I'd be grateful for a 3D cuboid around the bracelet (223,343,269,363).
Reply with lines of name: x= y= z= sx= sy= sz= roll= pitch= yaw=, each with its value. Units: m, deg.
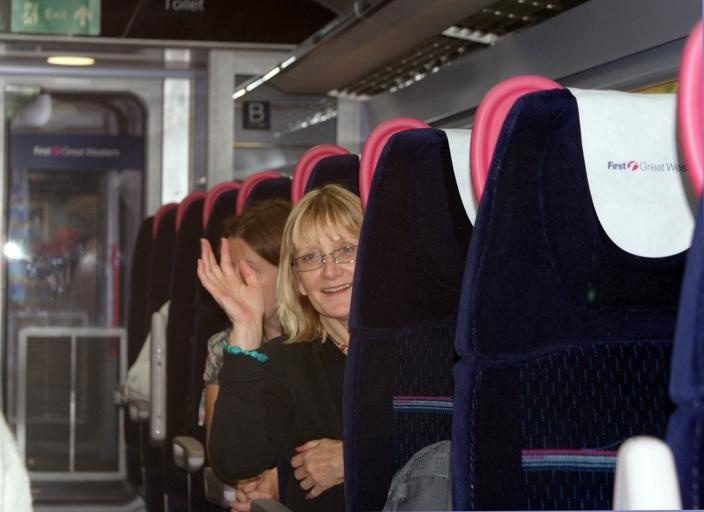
bracelet: x=-0.280 y=0.261 z=1.716 sx=0.119 sy=0.049 sz=0.070 roll=3 pitch=-6 yaw=-24
